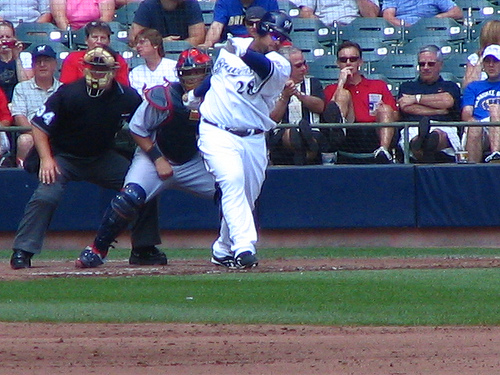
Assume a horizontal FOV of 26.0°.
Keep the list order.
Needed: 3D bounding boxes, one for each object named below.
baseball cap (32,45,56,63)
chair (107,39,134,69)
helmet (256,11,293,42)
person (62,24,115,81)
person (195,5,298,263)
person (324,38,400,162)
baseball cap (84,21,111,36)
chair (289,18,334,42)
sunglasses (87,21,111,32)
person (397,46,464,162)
[{"bbox_3d":[-2.133,-1.364,11.111,0.236,0.155,0.259,-11,-3,-11],"label":"baseball cap"},{"bbox_3d":[-1.428,-1.517,12.185,0.423,0.305,0.286,-2,9,-23],"label":"chair"},{"bbox_3d":[0.200,-1.355,9.019,0.244,0.190,0.255,19,22,-44],"label":"helmet"},{"bbox_3d":[-1.532,-1.335,10.644,0.569,0.493,0.762,-2,5,-34],"label":"person"},{"bbox_3d":[0.061,-0.395,9.156,1.037,1.974,0.487,-16,-3,30],"label":"person"},{"bbox_3d":[1.171,-0.866,11.141,0.739,1.261,0.778,-14,-3,8],"label":"person"},{"bbox_3d":[-1.549,-1.584,10.900,0.191,0.116,0.169,0,6,-2],"label":"baseball cap"},{"bbox_3d":[0.739,-1.914,13.111,0.270,0.396,1.031,-17,10,-10],"label":"chair"},{"bbox_3d":[-1.525,-1.629,10.950,0.244,0.085,0.105,-8,-5,-39],"label":"sunglasses"},{"bbox_3d":[1.821,-0.797,11.123,0.726,1.180,1.394,0,7,14],"label":"person"}]
